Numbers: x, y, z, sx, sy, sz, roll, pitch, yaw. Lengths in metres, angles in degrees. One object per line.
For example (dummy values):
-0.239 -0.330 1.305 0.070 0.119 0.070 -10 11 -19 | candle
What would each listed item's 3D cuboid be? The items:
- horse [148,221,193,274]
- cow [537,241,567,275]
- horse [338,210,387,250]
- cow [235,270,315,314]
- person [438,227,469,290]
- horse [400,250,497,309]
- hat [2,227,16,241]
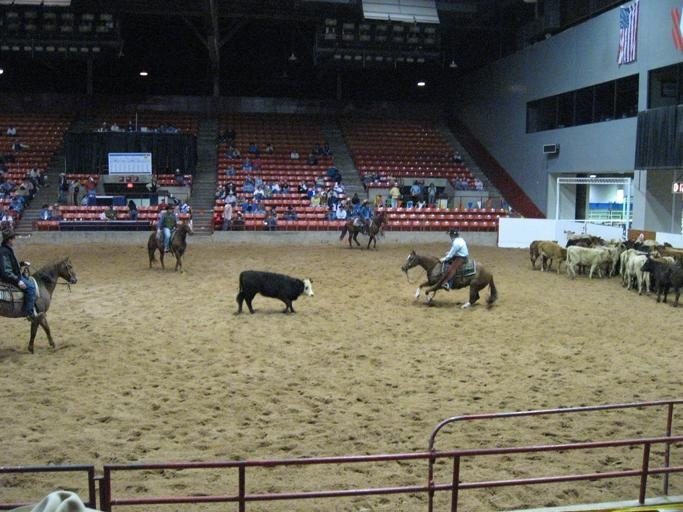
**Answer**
-6.062 -0.321 31.990 2.685 1.737 0.726 1 0 43 | horse
7.883 -0.061 33.640 0.988 1.082 2.026 2 5 13 | cow
1.040 -1.120 39.037 2.256 1.565 0.593 2 -1 19 | horse
-2.087 0.935 26.849 2.833 1.541 0.994 2 4 -9 | cow
3.422 0.081 27.339 0.864 1.795 0.672 2 4 7 | person
3.369 0.738 27.749 2.995 1.719 0.814 6 9 1 | horse
-8.619 -0.577 23.322 0.299 0.153 0.304 -22 21 -14 | hat
